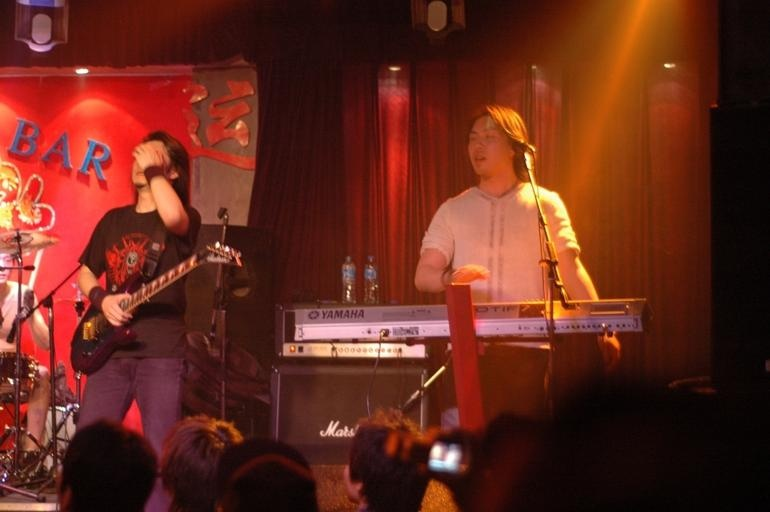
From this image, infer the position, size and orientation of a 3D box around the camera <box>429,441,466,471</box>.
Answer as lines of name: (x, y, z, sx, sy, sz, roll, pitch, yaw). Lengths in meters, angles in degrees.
camera: (0.166, 0.511, 1.838, 0.106, 0.074, 0.059, 0, -23, 20)

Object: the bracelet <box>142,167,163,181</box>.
bracelet: (-1.174, -0.411, 3.677, 0.075, 0.059, 0.079, -5, -4, 25)

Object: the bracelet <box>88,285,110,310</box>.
bracelet: (-1.438, 0.209, 3.628, 0.103, 0.100, 0.105, 0, -4, -38)

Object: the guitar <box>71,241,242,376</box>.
guitar: (-1.182, 0.292, 3.841, 0.851, 0.318, 0.120, -32, -29, 6)
